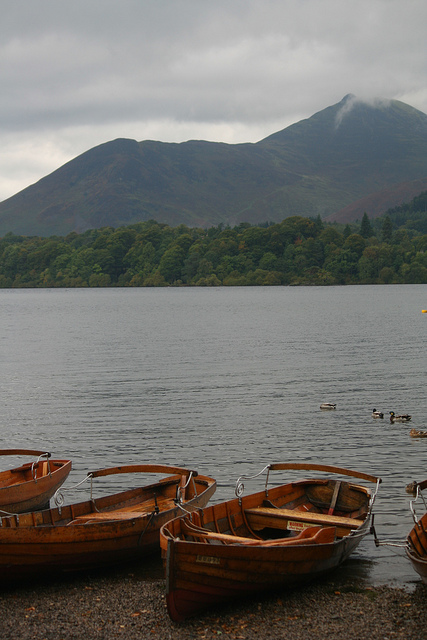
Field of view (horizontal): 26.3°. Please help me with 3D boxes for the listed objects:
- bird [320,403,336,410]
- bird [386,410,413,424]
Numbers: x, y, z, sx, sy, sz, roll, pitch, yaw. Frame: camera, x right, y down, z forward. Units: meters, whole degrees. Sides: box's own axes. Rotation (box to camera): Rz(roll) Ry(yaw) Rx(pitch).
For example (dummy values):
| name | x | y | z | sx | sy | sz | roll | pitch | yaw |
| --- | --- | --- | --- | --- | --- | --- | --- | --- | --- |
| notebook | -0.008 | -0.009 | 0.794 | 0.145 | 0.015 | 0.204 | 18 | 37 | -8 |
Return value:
| name | x | y | z | sx | sy | sz | roll | pitch | yaw |
| --- | --- | --- | --- | --- | --- | --- | --- | --- | --- |
| bird | 5.342 | 3.998 | 42.589 | 0.456 | 0.271 | 0.329 | 7 | 9 | 26 |
| bird | 8.075 | 4.247 | 39.632 | 0.979 | 0.541 | 0.444 | -4 | -16 | 16 |
